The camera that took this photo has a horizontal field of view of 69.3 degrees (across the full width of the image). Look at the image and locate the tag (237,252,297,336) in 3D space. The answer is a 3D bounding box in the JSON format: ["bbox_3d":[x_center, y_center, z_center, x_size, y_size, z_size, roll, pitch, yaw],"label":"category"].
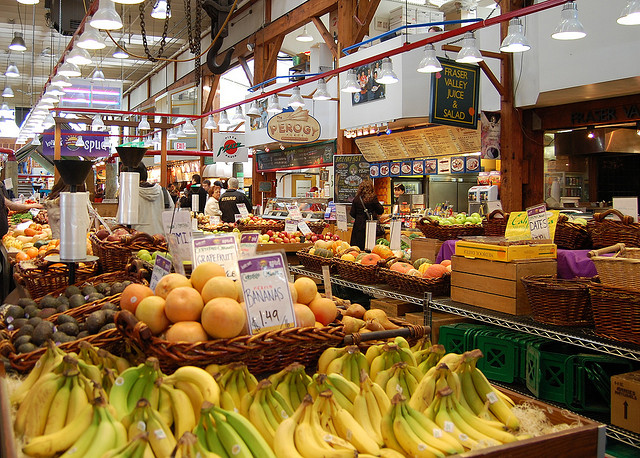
[{"bbox_3d":[-0.212,0.265,1.829,0.266,0.377,0.016,-8,-14,-31],"label":"tag"}]

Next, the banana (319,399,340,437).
[{"bbox_3d":[0.032,0.614,1.530,0.032,0.124,0.046,1,-19,-28],"label":"banana"}]

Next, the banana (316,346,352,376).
[{"bbox_3d":[0.060,0.507,1.783,0.050,0.133,0.031,24,23,-35],"label":"banana"}]

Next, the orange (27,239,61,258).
[{"bbox_3d":[-2.250,0.157,3.774,0.159,0.068,0.163,-21,-3,23],"label":"orange"}]

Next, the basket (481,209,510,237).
[{"bbox_3d":[1.778,-0.066,4.675,0.271,0.266,0.362,-1,-3,26],"label":"basket"}]

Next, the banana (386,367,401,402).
[{"bbox_3d":[0.265,0.566,1.680,0.034,0.131,0.044,-5,-30,33],"label":"banana"}]

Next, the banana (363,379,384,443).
[{"bbox_3d":[0.179,0.602,1.557,0.034,0.172,0.060,-9,-23,-15],"label":"banana"}]

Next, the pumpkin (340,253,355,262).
[{"bbox_3d":[0.257,0.239,4.136,0.068,0.070,0.069,-16,20,-38],"label":"pumpkin"}]

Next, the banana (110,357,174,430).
[{"bbox_3d":[-0.589,0.520,1.540,0.154,0.268,0.173,3,-42,-26],"label":"banana"}]

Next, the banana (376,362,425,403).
[{"bbox_3d":[0.303,0.545,1.702,0.098,0.094,0.175,-2,5,3],"label":"banana"}]

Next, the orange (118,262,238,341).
[{"bbox_3d":[-0.529,0.264,1.867,0.331,0.137,0.338,-6,22,-28],"label":"orange"}]

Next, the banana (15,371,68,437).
[{"bbox_3d":[-0.908,0.579,1.518,0.051,0.194,0.041,30,-7,-37],"label":"banana"}]

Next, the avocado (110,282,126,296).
[{"bbox_3d":[-1.079,0.318,2.472,0.067,0.050,0.147,-3,5,-23],"label":"avocado"}]

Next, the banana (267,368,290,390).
[{"bbox_3d":[-0.144,0.532,1.641,0.029,0.098,0.063,19,-19,14],"label":"banana"}]

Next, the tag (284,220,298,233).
[{"bbox_3d":[-0.397,-0.047,6.495,0.228,0.038,0.277,-3,38,-5],"label":"tag"}]

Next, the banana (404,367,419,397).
[{"bbox_3d":[0.337,0.558,1.708,0.030,0.120,0.040,-9,-9,9],"label":"banana"}]

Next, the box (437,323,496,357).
[{"bbox_3d":[1.083,0.831,3.529,0.276,0.241,0.343,-4,5,-30],"label":"box"}]

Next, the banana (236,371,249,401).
[{"bbox_3d":[-0.269,0.542,1.618,0.026,0.104,0.036,5,-26,-25],"label":"banana"}]

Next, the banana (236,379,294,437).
[{"bbox_3d":[-0.168,0.579,1.515,0.115,0.087,0.198,-2,31,-18],"label":"banana"}]

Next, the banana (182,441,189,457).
[{"bbox_3d":[-0.362,0.592,1.247,0.014,0.038,0.025,-3,5,-23],"label":"banana"}]

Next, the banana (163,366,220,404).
[{"bbox_3d":[-0.421,0.512,1.545,0.182,0.045,0.104,27,23,17],"label":"banana"}]

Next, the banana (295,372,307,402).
[{"bbox_3d":[-0.066,0.556,1.634,0.024,0.116,0.040,-6,-7,-3],"label":"banana"}]

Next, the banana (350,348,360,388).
[{"bbox_3d":[0.132,0.529,1.765,0.026,0.137,0.046,0,-5,0],"label":"banana"}]

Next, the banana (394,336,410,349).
[{"bbox_3d":[0.344,0.466,1.905,0.019,0.039,0.060,-11,-49,32],"label":"banana"}]

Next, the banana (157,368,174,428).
[{"bbox_3d":[-0.502,0.544,1.523,0.048,0.185,0.063,-8,-11,-4],"label":"banana"}]

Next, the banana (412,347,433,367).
[{"bbox_3d":[0.422,0.523,1.890,0.094,0.035,0.025,-42,44,-23],"label":"banana"}]

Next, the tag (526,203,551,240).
[{"bbox_3d":[1.667,-0.060,3.527,0.153,0.257,0.153,1,5,22],"label":"tag"}]

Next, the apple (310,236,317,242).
[{"bbox_3d":[-0.069,0.115,5.848,0.038,0.065,0.116,-5,6,-42],"label":"apple"}]

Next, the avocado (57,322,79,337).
[{"bbox_3d":[-1.134,0.449,2.087,0.078,0.046,0.061,18,33,25],"label":"avocado"}]

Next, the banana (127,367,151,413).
[{"bbox_3d":[-0.587,0.524,1.505,0.029,0.136,0.047,19,-3,6],"label":"banana"}]

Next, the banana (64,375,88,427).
[{"bbox_3d":[-0.788,0.555,1.495,0.049,0.195,0.066,0,-22,-6],"label":"banana"}]

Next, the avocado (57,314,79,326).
[{"bbox_3d":[-1.174,0.410,2.146,0.071,0.042,0.054,5,4,14],"label":"avocado"}]

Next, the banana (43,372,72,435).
[{"bbox_3d":[-0.833,0.565,1.495,0.044,0.177,0.060,4,-20,5],"label":"banana"}]

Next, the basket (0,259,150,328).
[{"bbox_3d":[-1.377,0.265,2.814,0.791,0.224,0.508,-22,10,-18],"label":"basket"}]

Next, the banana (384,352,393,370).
[{"bbox_3d":[0.267,0.510,1.800,0.019,0.074,0.025,4,-12,19],"label":"banana"}]

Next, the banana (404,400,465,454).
[{"bbox_3d":[0.363,0.628,1.457,0.033,0.149,0.050,-43,-1,24],"label":"banana"}]

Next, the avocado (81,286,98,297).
[{"bbox_3d":[-1.275,0.340,2.544,0.060,0.036,0.049,1,7,-21],"label":"avocado"}]

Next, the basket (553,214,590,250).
[{"bbox_3d":[2.060,0.020,3.781,0.241,0.271,0.297,2,5,37],"label":"basket"}]

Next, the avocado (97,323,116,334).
[{"bbox_3d":[-0.909,0.422,1.974,0.063,0.048,0.083,-12,-24,-26],"label":"avocado"}]

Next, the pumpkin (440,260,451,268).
[{"bbox_3d":[1.009,0.274,3.701,0.054,0.055,0.053,1,-4,-34],"label":"pumpkin"}]

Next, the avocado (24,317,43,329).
[{"bbox_3d":[-1.323,0.423,2.133,0.053,0.031,0.055,2,2,-3],"label":"avocado"}]

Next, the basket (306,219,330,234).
[{"bbox_3d":[-0.025,-0.028,7.802,0.344,0.228,0.574,-2,5,-13],"label":"basket"}]

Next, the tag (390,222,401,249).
[{"bbox_3d":[0.792,0.058,4.833,0.075,0.276,0.171,-2,4,-13],"label":"tag"}]

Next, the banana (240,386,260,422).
[{"bbox_3d":[-0.227,0.571,1.543,0.051,0.144,0.037,11,-6,1],"label":"banana"}]

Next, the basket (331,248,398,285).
[{"bbox_3d":[0.361,0.293,3.985,0.271,0.154,0.368,6,6,-39],"label":"basket"}]
